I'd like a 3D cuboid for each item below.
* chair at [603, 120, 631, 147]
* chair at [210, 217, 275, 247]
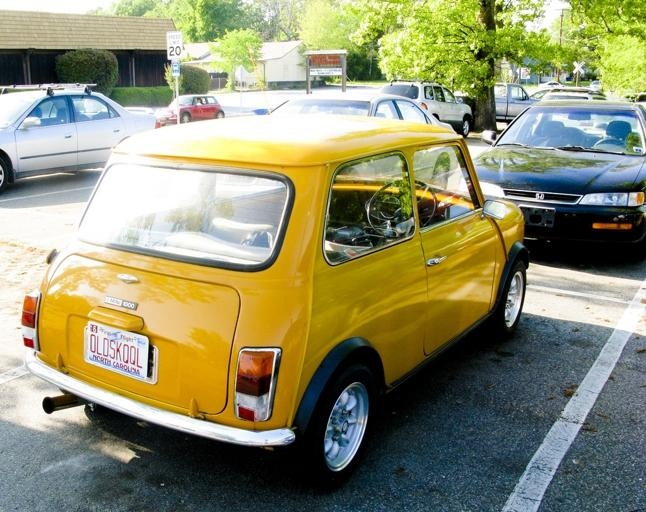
[{"bbox_3d":[4.938,-2.062,8.096,0.370,0.480,0.500,6,0,31],"label":"chair"},{"bbox_3d":[-0.441,-0.128,2.672,0.307,0.179,0.113,14,6,15],"label":"chair"}]
